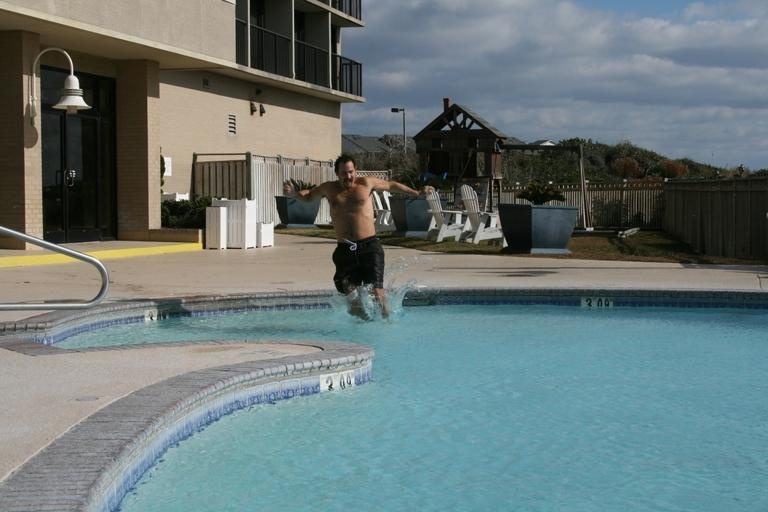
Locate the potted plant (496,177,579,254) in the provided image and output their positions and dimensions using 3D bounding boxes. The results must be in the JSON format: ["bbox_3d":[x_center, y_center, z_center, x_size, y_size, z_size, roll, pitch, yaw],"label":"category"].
[{"bbox_3d":[3.372,-0.841,17.073,1.325,1.469,1.481,2,2,-23],"label":"potted plant"}]

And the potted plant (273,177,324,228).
[{"bbox_3d":[-2.715,-1.622,25.457,1.449,1.755,1.281,3,-12,3],"label":"potted plant"}]

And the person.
[{"bbox_3d":[-0.338,-0.225,9.684,1.146,2.080,0.429,5,11,18],"label":"person"}]

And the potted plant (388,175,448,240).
[{"bbox_3d":[0.755,-1.166,21.319,1.334,1.262,1.179,-3,4,-40],"label":"potted plant"}]
